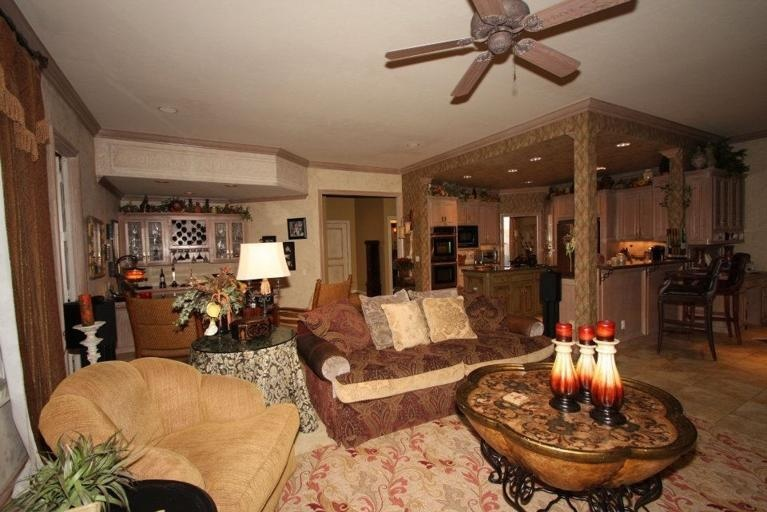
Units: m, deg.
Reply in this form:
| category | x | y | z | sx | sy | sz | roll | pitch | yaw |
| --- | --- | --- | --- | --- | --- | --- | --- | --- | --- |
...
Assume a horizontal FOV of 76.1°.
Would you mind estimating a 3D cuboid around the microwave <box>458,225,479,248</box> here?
| category | x | y | z | sx | sy | sz | roll | pitch | yaw |
| --- | --- | --- | --- | --- | --- | --- | --- | --- | --- |
| microwave | 1.836 | -0.396 | 10.784 | 0.555 | 0.473 | 0.293 | -1 | 1 | -29 |

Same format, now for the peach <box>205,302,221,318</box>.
| category | x | y | z | sx | sy | sz | roll | pitch | yaw |
| --- | --- | --- | --- | --- | --- | --- | --- | --- | --- |
| peach | -1.769 | 0.577 | 5.145 | 0.098 | 0.150 | 0.159 | -14 | 3 | 36 |

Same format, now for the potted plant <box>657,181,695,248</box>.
| category | x | y | z | sx | sy | sz | roll | pitch | yaw |
| --- | --- | --- | --- | --- | --- | --- | --- | --- | --- |
| potted plant | 4.696 | -0.634 | 7.905 | 0.241 | 1.229 | 0.421 | -2 | 3 | -14 |

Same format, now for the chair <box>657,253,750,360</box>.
| category | x | y | z | sx | sy | sz | roll | pitch | yaw |
| --- | --- | --- | --- | --- | --- | --- | --- | --- | --- |
| chair | 4.544 | 0.766 | 6.932 | 1.419 | 1.557 | 1.047 | -2 | 4 | -36 |

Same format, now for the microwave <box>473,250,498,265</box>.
| category | x | y | z | sx | sy | sz | roll | pitch | yaw |
| --- | --- | --- | --- | --- | --- | --- | --- | --- | --- |
| microwave | 2.375 | 0.038 | 11.375 | 0.556 | 0.283 | 0.198 | -1 | 3 | 3 |

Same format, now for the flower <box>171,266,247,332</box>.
| category | x | y | z | sx | sy | sz | roll | pitch | yaw |
| --- | --- | --- | --- | --- | --- | --- | --- | --- | --- |
| flower | -1.883 | 0.380 | 5.497 | 0.696 | 0.435 | 0.695 | -13 | 10 | -11 |

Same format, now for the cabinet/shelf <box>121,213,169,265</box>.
| category | x | y | z | sx | sy | sz | roll | pitch | yaw |
| --- | --- | --- | --- | --- | --- | --- | --- | --- | --- |
| cabinet/shelf | -4.050 | -0.290 | 8.239 | 0.289 | 1.186 | 0.916 | -2 | -1 | 44 |

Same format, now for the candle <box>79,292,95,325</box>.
| category | x | y | z | sx | sy | sz | roll | pitch | yaw |
| --- | --- | --- | --- | --- | --- | --- | --- | --- | --- |
| candle | -3.036 | 0.567 | 5.014 | 0.113 | 0.303 | 0.084 | -4 | 4 | -37 |

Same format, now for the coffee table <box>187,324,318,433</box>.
| category | x | y | z | sx | sy | sz | roll | pitch | yaw |
| --- | --- | --- | --- | --- | --- | --- | --- | --- | --- |
| coffee table | -1.435 | 1.342 | 5.499 | 1.159 | 0.799 | 1.132 | -5 | -2 | -17 |

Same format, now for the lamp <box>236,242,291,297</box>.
| category | x | y | z | sx | sy | sz | roll | pitch | yaw |
| --- | --- | --- | --- | --- | --- | --- | --- | --- | --- |
| lamp | -1.325 | 0.111 | 5.456 | 0.628 | 0.585 | 0.583 | -4 | 7 | -13 |

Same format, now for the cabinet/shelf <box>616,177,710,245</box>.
| category | x | y | z | sx | sy | sz | roll | pitch | yaw |
| --- | --- | --- | --- | --- | --- | --- | --- | --- | --- |
| cabinet/shelf | 4.875 | -0.761 | 8.505 | 0.495 | 0.918 | 1.465 | 1 | 0 | -5 |

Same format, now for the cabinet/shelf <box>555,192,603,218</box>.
| category | x | y | z | sx | sy | sz | roll | pitch | yaw |
| --- | --- | --- | --- | --- | --- | --- | --- | --- | --- |
| cabinet/shelf | 3.991 | -1.014 | 10.275 | 0.388 | 0.524 | 1.468 | -2 | 2 | -16 |
